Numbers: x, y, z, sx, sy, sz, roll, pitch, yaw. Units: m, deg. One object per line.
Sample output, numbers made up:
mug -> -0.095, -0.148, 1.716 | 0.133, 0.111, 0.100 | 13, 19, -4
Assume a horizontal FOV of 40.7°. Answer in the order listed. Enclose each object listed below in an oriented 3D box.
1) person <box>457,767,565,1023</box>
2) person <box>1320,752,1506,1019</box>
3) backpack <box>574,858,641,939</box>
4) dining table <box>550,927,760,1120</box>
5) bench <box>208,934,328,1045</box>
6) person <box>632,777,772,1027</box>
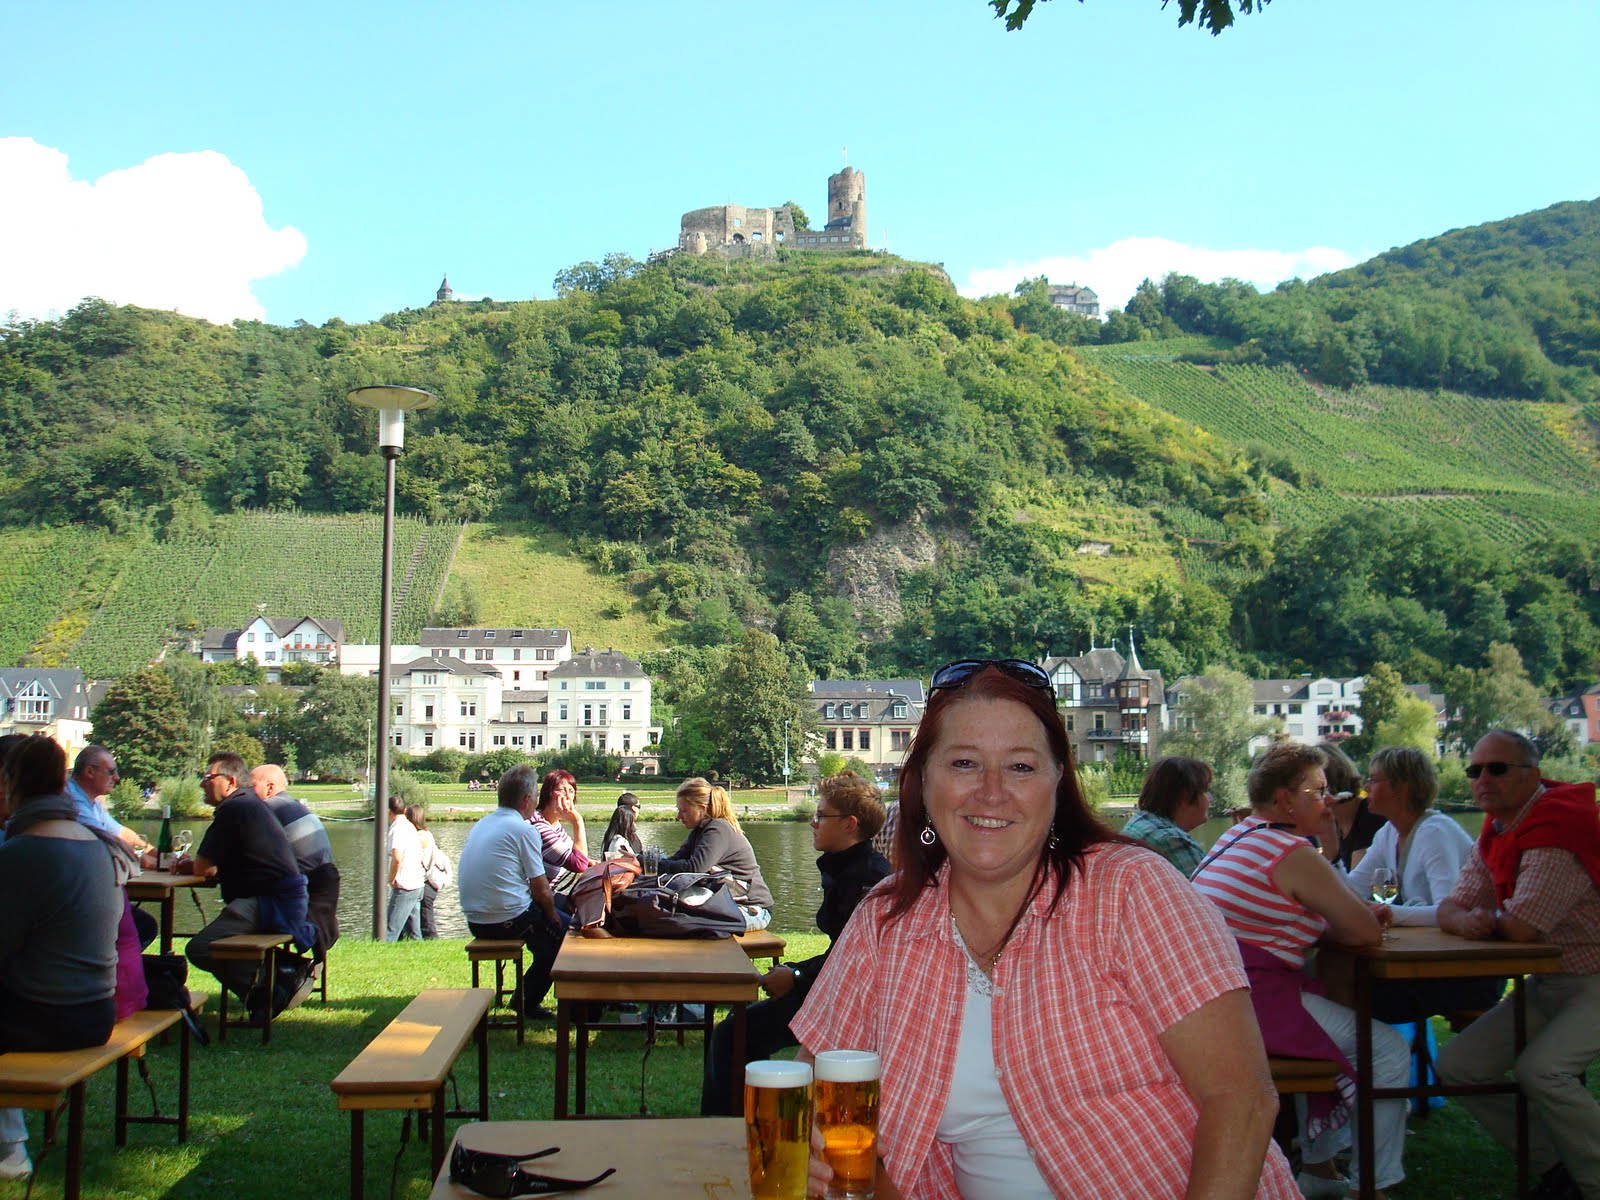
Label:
person -> -2.122, 2.213, 16.509 | 0.970, 1.909, 0.815 | -5, 7, -38
person -> 4.047, 2.047, 14.409 | 1.330, 1.979, 0.940 | -3, 0, -19
backpack -> -1.327, 2.018, 14.884 | 0.430, 0.223, 0.578 | -21, 8, 28
dining table -> -0.913, 2.668, 12.842 | 1.312, 1.278, 1.101 | 2, -5, -11
bench -> -3.884, 2.790, 15.643 | 0.594, 0.748, 0.881 | 2, -6, 1
person -> -0.496, 1.961, 15.551 | 0.866, 1.237, 0.543 | -1, 8, 42
